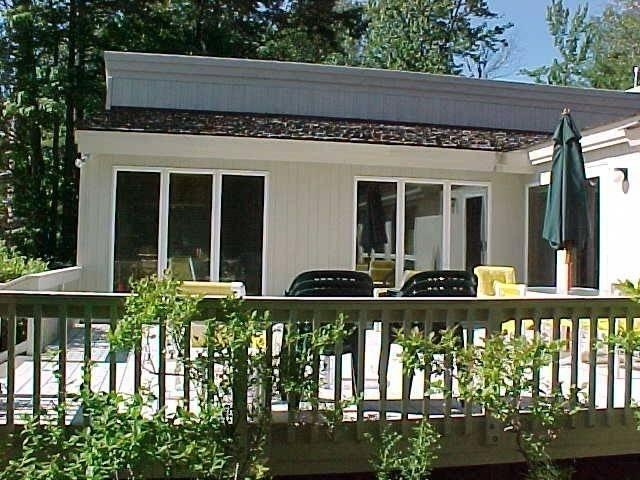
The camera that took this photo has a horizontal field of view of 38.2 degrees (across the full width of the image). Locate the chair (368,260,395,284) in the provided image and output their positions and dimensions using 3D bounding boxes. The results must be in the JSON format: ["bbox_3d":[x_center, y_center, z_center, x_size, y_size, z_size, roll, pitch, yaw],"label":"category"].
[{"bbox_3d":[1.147,0.571,16.823,0.413,0.437,0.415,1,3,2],"label":"chair"}]

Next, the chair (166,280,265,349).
[{"bbox_3d":[-1.463,1.277,12.637,1.263,1.245,0.956,1,2,-2],"label":"chair"}]

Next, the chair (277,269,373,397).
[{"bbox_3d":[0.134,1.266,13.335,1.622,2.316,1.413,0,-2,-4],"label":"chair"}]

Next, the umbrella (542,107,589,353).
[{"bbox_3d":[3.770,-0.588,14.161,0.655,2.832,0.347,-2,-6,16],"label":"umbrella"}]

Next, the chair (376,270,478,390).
[{"bbox_3d":[1.714,1.192,13.070,1.414,2.205,1.531,0,1,-9],"label":"chair"}]
